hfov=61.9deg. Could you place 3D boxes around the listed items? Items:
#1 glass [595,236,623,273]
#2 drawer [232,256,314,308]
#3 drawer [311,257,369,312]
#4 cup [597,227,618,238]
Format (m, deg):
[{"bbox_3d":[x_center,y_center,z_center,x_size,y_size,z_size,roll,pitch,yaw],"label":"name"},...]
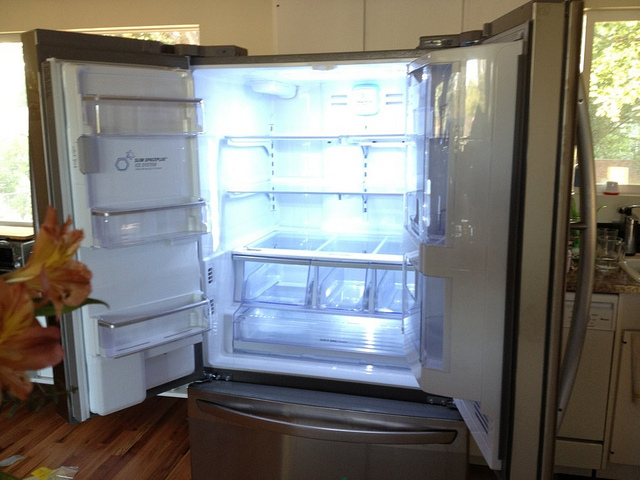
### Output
[{"bbox_3d":[1.333,0.066,2.475,0.107,0.152,0.139,7,17,28],"label":"glass"},{"bbox_3d":[-0.197,0.159,2.501,0.269,0.161,0.269,3,10,16],"label":"drawer"},{"bbox_3d":[0.088,0.189,2.413,0.240,0.144,0.241,2,10,6],"label":"drawer"},{"bbox_3d":[1.380,-0.037,2.565,0.049,0.040,0.054,-11,10,-38],"label":"cup"}]
